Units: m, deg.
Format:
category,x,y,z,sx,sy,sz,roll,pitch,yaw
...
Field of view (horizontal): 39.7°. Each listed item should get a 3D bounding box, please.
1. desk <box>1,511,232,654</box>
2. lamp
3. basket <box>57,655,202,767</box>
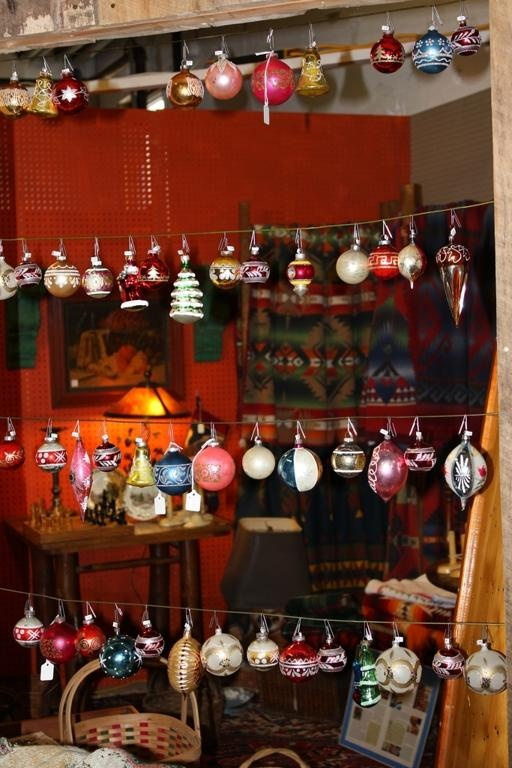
category,x,y,z,sx,sy,sz,roll,pitch,yaw
desk,-0.592,0.697,2.999,0.813,0.741,0.584,2,-4,-29
lamp,-0.428,0.037,2.854,0.347,0.181,0.340,0,2,6
basket,-0.340,0.923,2.128,0.392,0.379,0.393,6,-16,-25
